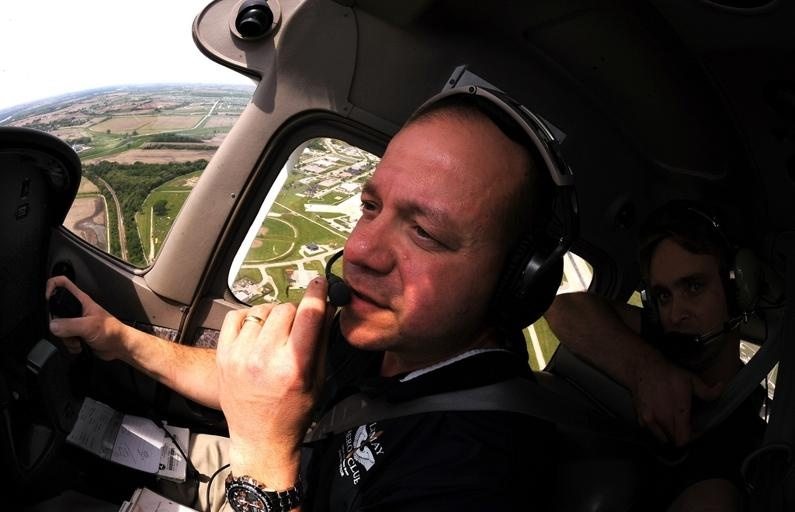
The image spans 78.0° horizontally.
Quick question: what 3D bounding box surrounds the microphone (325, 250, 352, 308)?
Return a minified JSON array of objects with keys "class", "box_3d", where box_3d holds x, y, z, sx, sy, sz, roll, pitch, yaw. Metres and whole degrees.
[{"class":"microphone","box_3d":[-0.245,0.094,1.983,0.169,0.213,0.064,31,-58,-32]}]
